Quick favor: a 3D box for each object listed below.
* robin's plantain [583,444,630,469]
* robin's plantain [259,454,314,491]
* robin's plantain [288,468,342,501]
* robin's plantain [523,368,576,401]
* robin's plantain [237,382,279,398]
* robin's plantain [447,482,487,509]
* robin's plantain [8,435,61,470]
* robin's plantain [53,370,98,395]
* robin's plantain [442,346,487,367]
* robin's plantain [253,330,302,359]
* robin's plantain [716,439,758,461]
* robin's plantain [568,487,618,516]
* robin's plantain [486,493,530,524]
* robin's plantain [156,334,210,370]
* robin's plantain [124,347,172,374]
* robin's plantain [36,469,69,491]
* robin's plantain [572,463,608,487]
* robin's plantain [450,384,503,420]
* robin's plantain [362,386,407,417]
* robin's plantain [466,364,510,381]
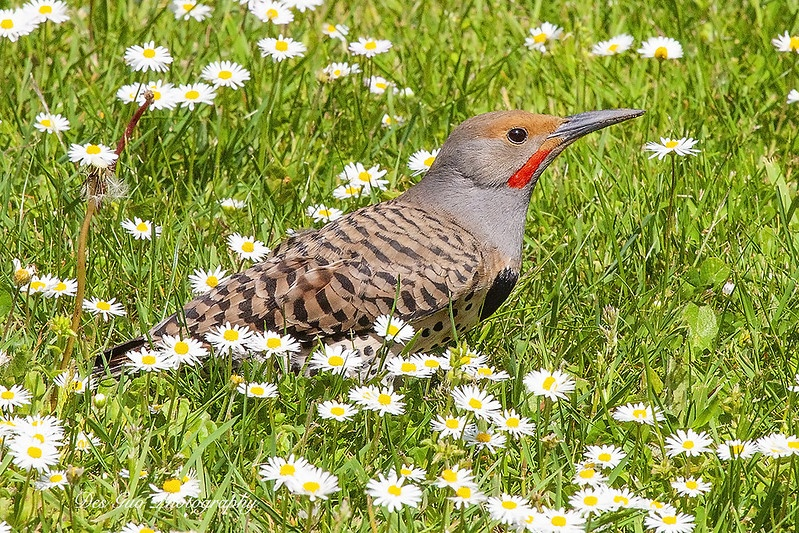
[{"bbox_3d":[0.869,0.822,3.790,0.130,0.041,0.128,-14,31,-38],"label":"robin's plantain"},{"bbox_3d":[-0.418,0.783,3.393,0.195,0.075,0.200,8,15,36],"label":"robin's plantain"},{"bbox_3d":[-0.313,0.798,3.229,0.185,0.073,0.200,10,12,42],"label":"robin's plantain"},{"bbox_3d":[0.640,0.522,3.823,0.224,0.104,0.219,11,2,28],"label":"robin's plantain"},{"bbox_3d":[-0.592,0.527,3.827,0.119,0.052,0.122,5,5,-14],"label":"robin's plantain"},{"bbox_3d":[0.260,0.884,3.384,0.133,0.073,0.144,-10,8,-20],"label":"robin's plantain"},{"bbox_3d":[-1.368,0.706,3.364,0.146,0.050,0.157,6,40,-20],"label":"robin's plantain"},{"bbox_3d":[-1.322,0.485,3.703,0.136,0.057,0.148,30,6,28],"label":"robin's plantain"},{"bbox_3d":[0.285,0.389,3.894,0.140,0.032,0.150,4,1,25],"label":"robin's plantain"},{"bbox_3d":[-0.534,0.335,3.922,0.143,0.052,0.139,-4,21,-43],"label":"robin's plantain"},{"bbox_3d":[1.398,0.770,3.752,0.114,0.025,0.118,-22,22,-19],"label":"robin's plantain"},{"bbox_3d":[0.766,0.944,3.512,0.126,0.042,0.133,-15,38,-14],"label":"robin's plantain"},{"bbox_3d":[0.411,0.928,3.381,0.123,0.036,0.130,24,49,12],"label":"robin's plantain"},{"bbox_3d":[-0.920,0.400,3.880,0.176,0.074,0.192,1,32,-30],"label":"robin's plantain"},{"bbox_3d":[-1.048,0.430,3.773,0.166,0.044,0.168,5,18,-39],"label":"robin's plantain"},{"bbox_3d":[-1.310,0.808,3.420,0.110,0.024,0.115,-16,1,25],"label":"robin's plantain"},{"bbox_3d":[0.753,0.838,3.639,0.118,0.038,0.125,0,-1,-6],"label":"robin's plantain"},{"bbox_3d":[0.305,0.561,3.686,0.214,0.077,0.232,7,23,-22],"label":"robin's plantain"},{"bbox_3d":[-0.076,0.569,3.679,0.126,0.043,0.135,26,19,29],"label":"robin's plantain"},{"bbox_3d":[0.364,0.453,3.865,0.113,0.041,0.126,19,2,-8],"label":"robin's plantain"}]
